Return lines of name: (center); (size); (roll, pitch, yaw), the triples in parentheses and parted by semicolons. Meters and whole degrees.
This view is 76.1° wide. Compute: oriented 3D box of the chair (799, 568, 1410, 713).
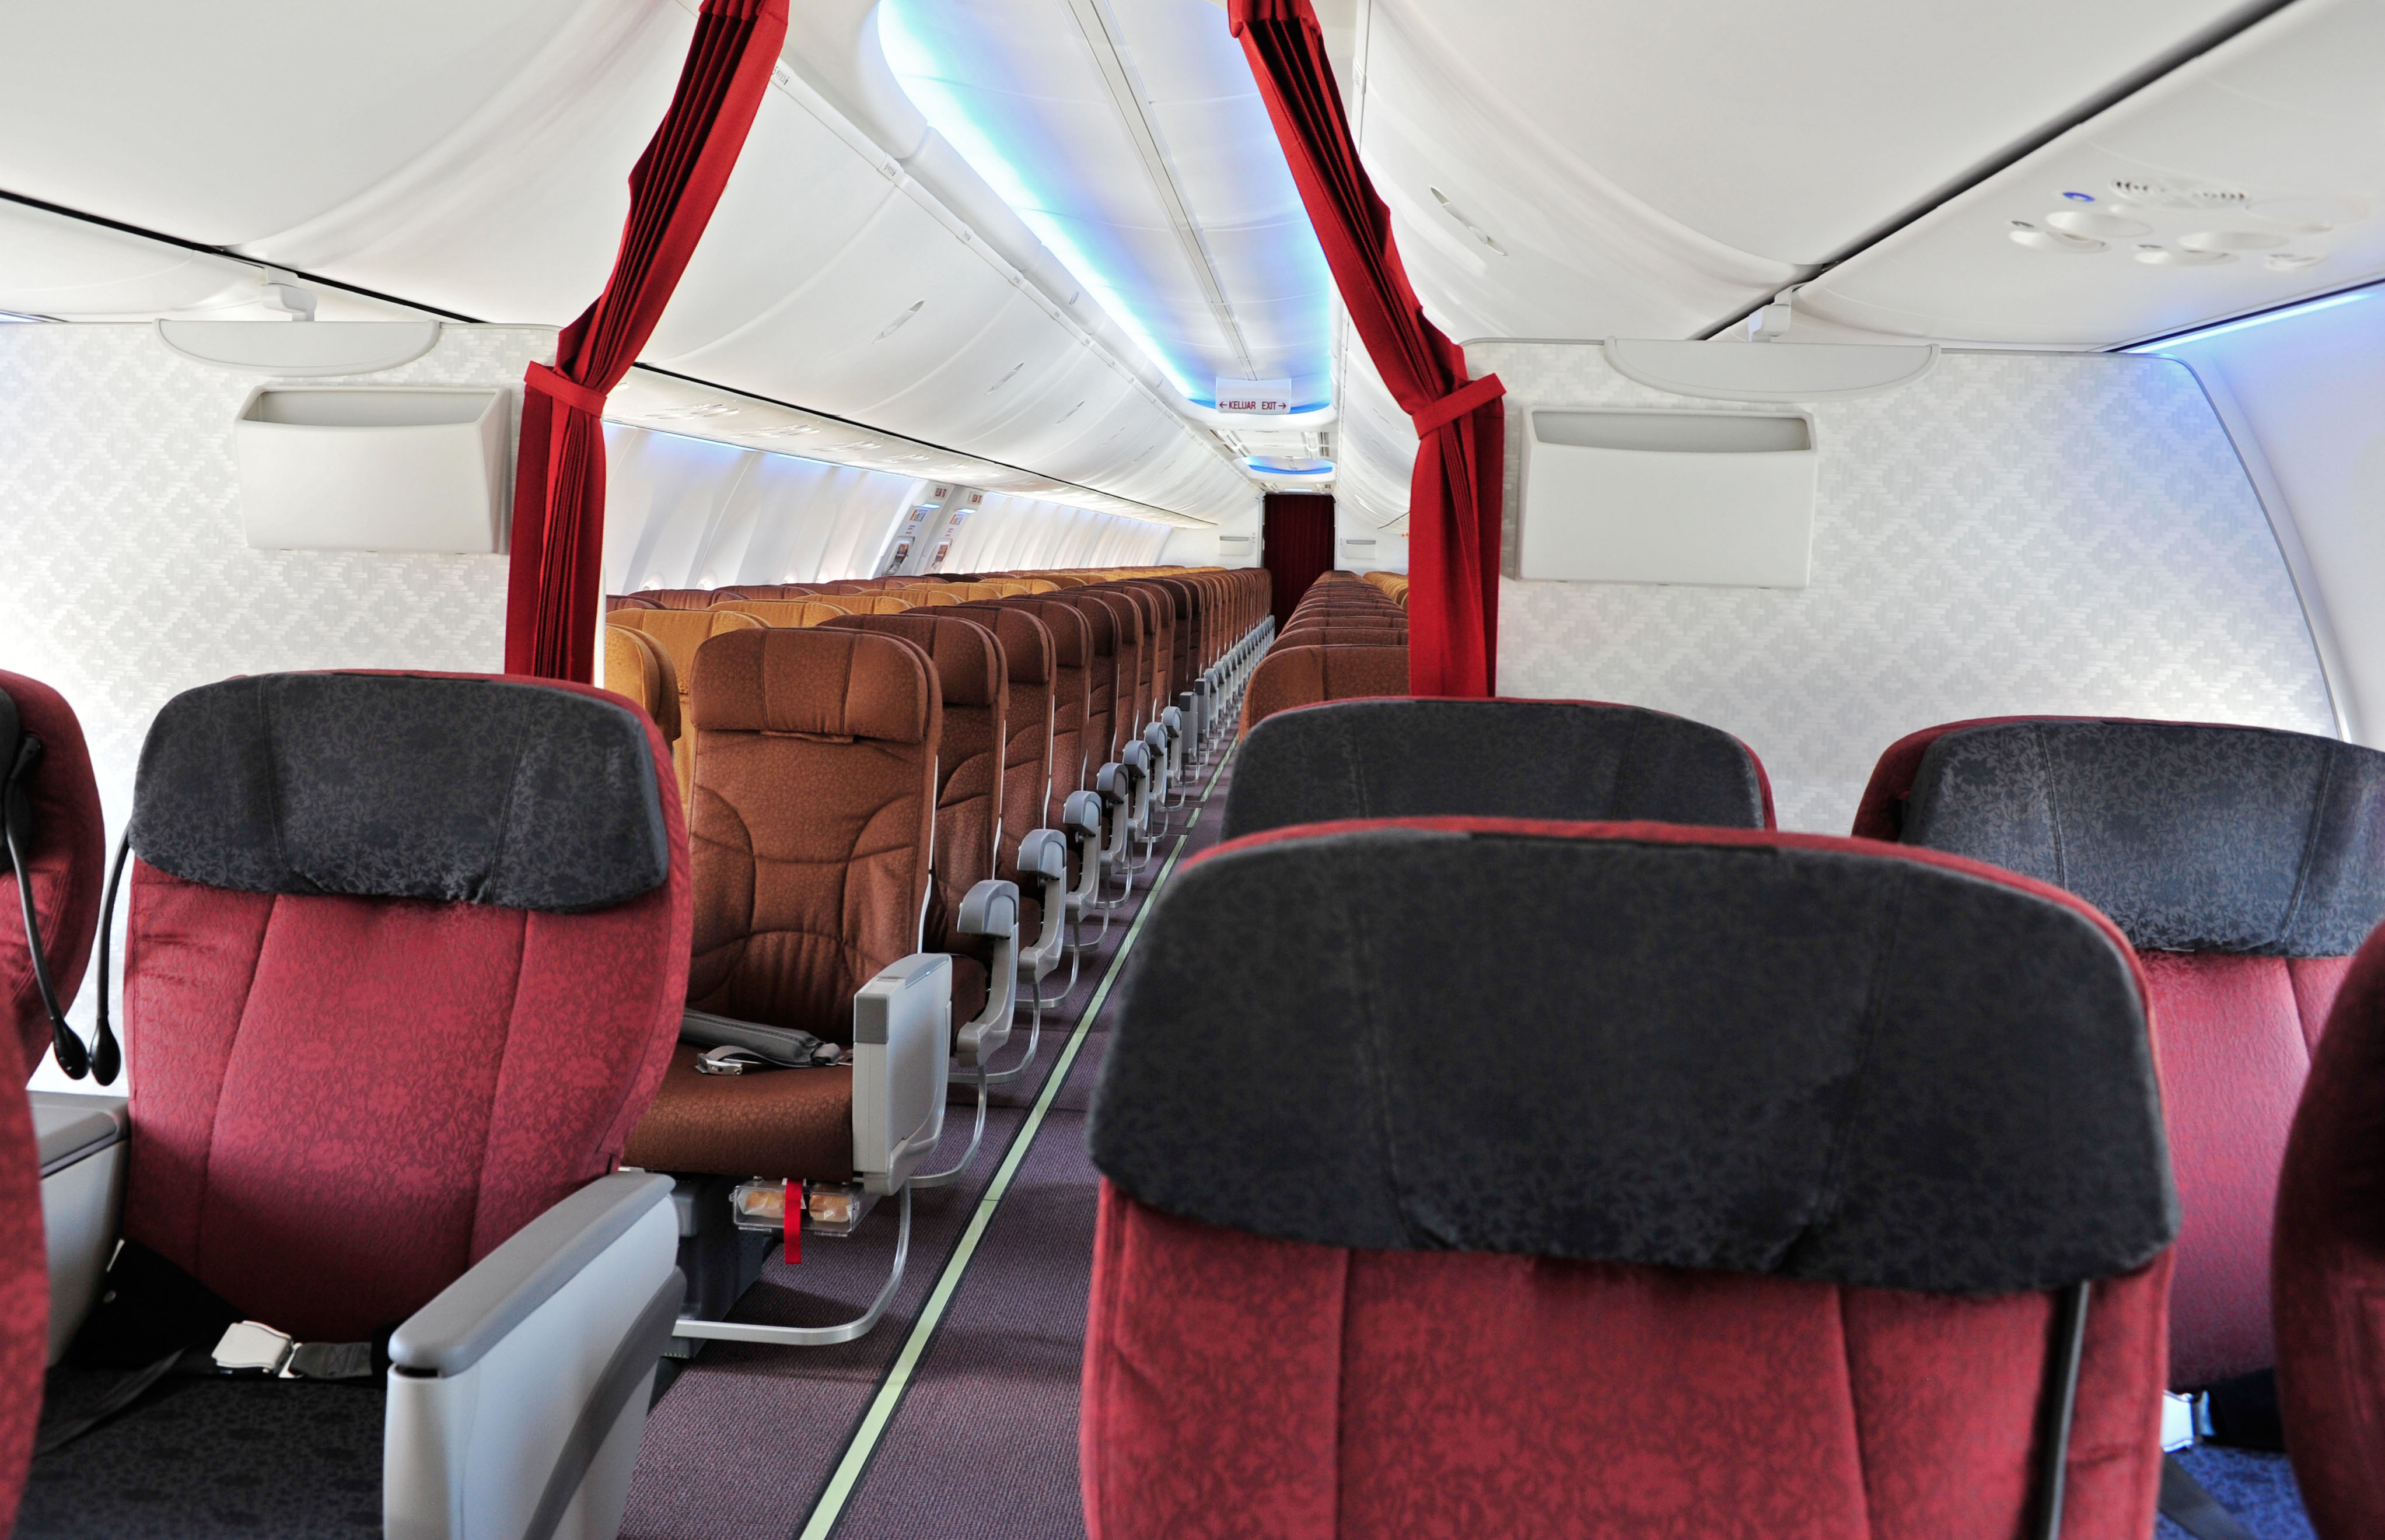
chair: (-0.450, -0.672, 7.674); (2.333, 0.844, 0.783); (-3, -3, 23)

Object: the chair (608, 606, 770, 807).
chair: (-1.956, -0.286, 5.767); (0.679, 0.801, 0.610); (3, 1, -30)
